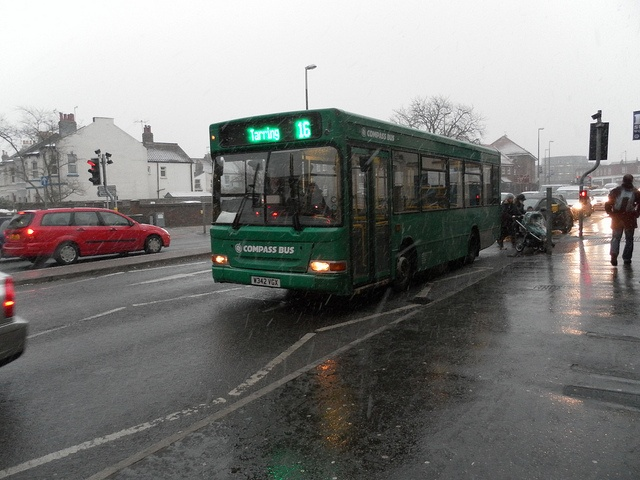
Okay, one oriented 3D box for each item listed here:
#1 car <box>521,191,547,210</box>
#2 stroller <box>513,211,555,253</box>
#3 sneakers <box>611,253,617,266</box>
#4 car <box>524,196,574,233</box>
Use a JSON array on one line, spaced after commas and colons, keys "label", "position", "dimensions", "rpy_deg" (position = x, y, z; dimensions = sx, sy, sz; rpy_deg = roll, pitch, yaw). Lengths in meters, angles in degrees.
[{"label": "car", "position": [10.449, -1.875, 21.928], "dimensions": [1.172, 1.061, 2.247], "rpy_deg": [0, 0, 41]}, {"label": "stroller", "position": [7.376, -0.360, 15.901], "dimensions": [0.857, 1.493, 1.132], "rpy_deg": [-10, 7, -44]}, {"label": "sneakers", "position": [7.755, 0.527, 11.872], "dimensions": [0.155, 0.327, 0.073], "rpy_deg": [3, -3, 18]}, {"label": "car", "position": [9.961, -1.065, 19.529], "dimensions": [2.497, 1.475, 1.620], "rpy_deg": [3, 0, -15]}]
